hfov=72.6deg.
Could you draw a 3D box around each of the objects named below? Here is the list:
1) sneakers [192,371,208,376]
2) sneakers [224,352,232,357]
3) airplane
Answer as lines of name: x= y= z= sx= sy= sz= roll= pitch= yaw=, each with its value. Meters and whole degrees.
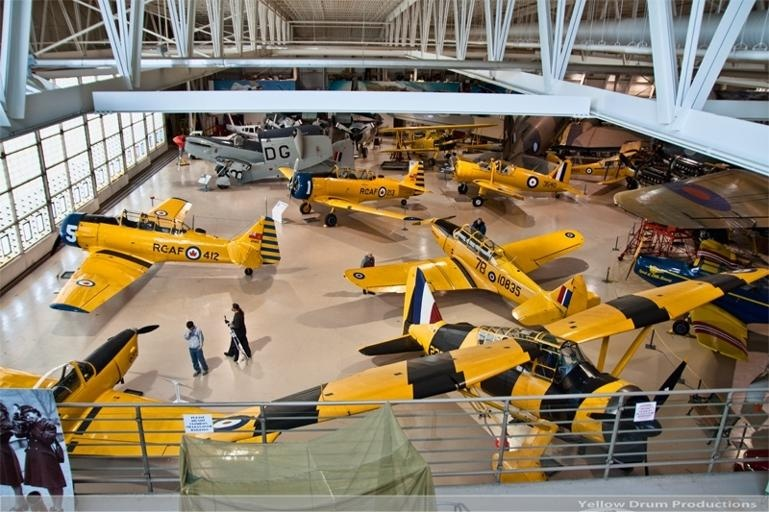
sneakers: x=-4.109 y=2.634 z=11.708 sx=0.323 sy=0.102 sz=0.096 roll=0 pitch=23 yaw=-20
sneakers: x=-3.621 y=2.283 z=12.190 sx=0.146 sy=0.067 sz=0.155 roll=12 pitch=-1 yaw=-28
airplane: x=-0.172 y=0.874 z=12.803 sx=11.789 sy=2.594 sz=9.625 roll=-2 pitch=11 yaw=-24
